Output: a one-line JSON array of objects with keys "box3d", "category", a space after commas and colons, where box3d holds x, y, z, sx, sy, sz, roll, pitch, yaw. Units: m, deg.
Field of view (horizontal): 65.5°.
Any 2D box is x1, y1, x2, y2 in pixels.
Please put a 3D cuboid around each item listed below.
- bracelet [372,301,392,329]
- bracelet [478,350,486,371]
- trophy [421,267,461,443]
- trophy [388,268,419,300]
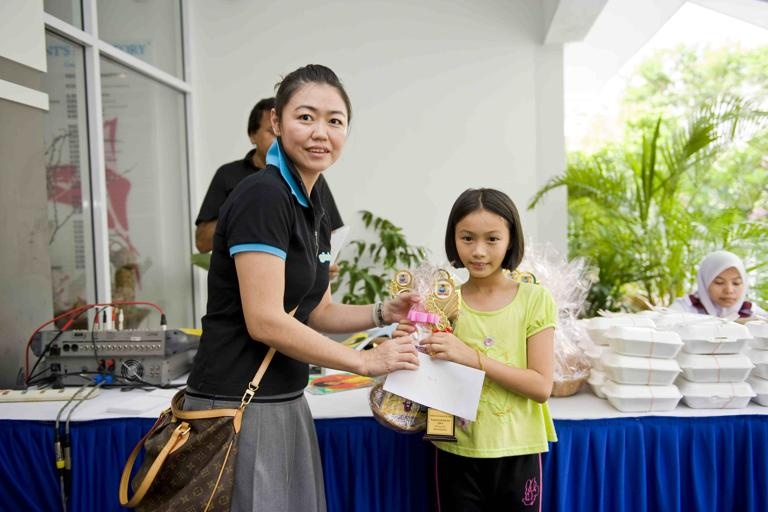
[{"box3d": [-0.019, 0.264, 2.637, 0.066, 0.107, 0.102, -2, 1, 2], "category": "bracelet"}, {"box3d": [0.408, 0.442, 2.504, 0.025, 0.081, 0.027, -3, -2, 38], "category": "bracelet"}, {"box3d": [0.245, 0.417, 2.559, 0.163, 0.765, 0.114, -2, 12, -16], "category": "trophy"}, {"box3d": [0.085, 0.128, 2.684, 0.091, 0.126, 0.043, 5, -2, 6], "category": "trophy"}]
